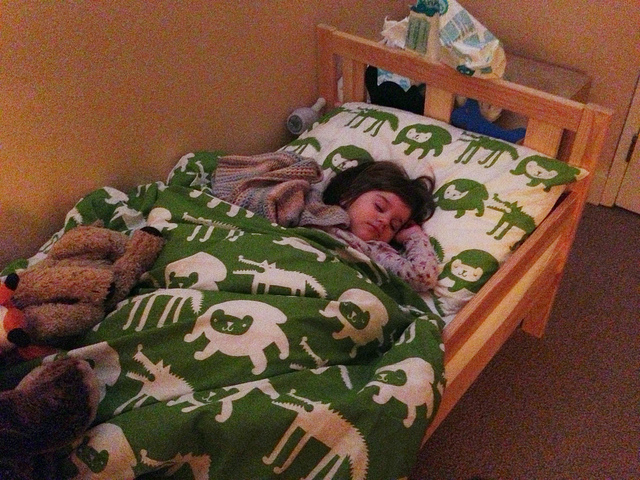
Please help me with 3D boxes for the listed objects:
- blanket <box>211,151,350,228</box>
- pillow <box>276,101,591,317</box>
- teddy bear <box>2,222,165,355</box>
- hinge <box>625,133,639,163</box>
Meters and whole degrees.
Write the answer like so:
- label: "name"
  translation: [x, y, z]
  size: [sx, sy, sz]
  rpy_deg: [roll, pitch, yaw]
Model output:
- label: "blanket"
  translation: [-0.151, -0.170, 1.863]
  size: [0.274, 0.119, 0.352]
  rpy_deg: [24, 22, 17]
- label: "pillow"
  translation: [0.486, -0.236, 2.339]
  size: [1.150, 0.664, 1.080]
  rpy_deg: [29, 43, 33]
- label: "teddy bear"
  translation: [-0.584, 0.156, 1.540]
  size: [0.139, 0.346, 0.306]
  rpy_deg: [53, 6, -39]
- label: "hinge"
  translation: [1.326, -0.390, 2.437]
  size: [0.027, 0.131, 0.082]
  rpy_deg: [21, 9, 24]
